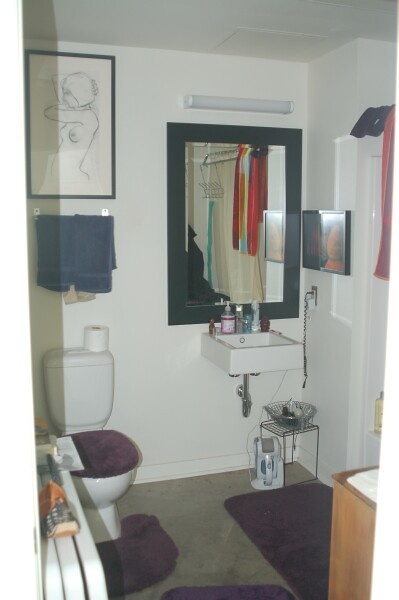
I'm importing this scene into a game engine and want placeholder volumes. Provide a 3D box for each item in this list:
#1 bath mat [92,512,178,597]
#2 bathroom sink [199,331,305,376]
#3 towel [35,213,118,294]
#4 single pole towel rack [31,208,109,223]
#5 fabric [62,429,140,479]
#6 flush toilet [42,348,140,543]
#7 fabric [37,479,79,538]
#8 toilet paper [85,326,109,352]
[{"bbox_3d":[-0.287,1.180,2.221,0.350,0.036,0.473,-3,6,-22],"label":"bath mat"},{"bbox_3d":[0.316,0.296,2.821,0.552,0.187,0.395,-3,5,-19],"label":"bathroom sink"},{"bbox_3d":[-0.664,-0.248,2.499,0.336,0.408,0.072,-1,4,-20],"label":"towel"},{"bbox_3d":[-0.668,-0.459,2.514,0.403,0.077,0.098,-4,5,-25],"label":"single pole towel rack"},{"bbox_3d":[-0.458,0.703,2.164,0.206,0.064,0.280,0,16,-10],"label":"fabric"},{"bbox_3d":[-0.539,0.707,2.352,0.312,0.811,0.640,-4,13,-27],"label":"flush toilet"},{"bbox_3d":[-0.391,0.585,1.320,0.104,0.117,0.149,-2,5,-19],"label":"fabric"},{"bbox_3d":[-0.549,0.208,2.596,0.162,0.130,0.130,-4,6,-36],"label":"toilet paper"}]
